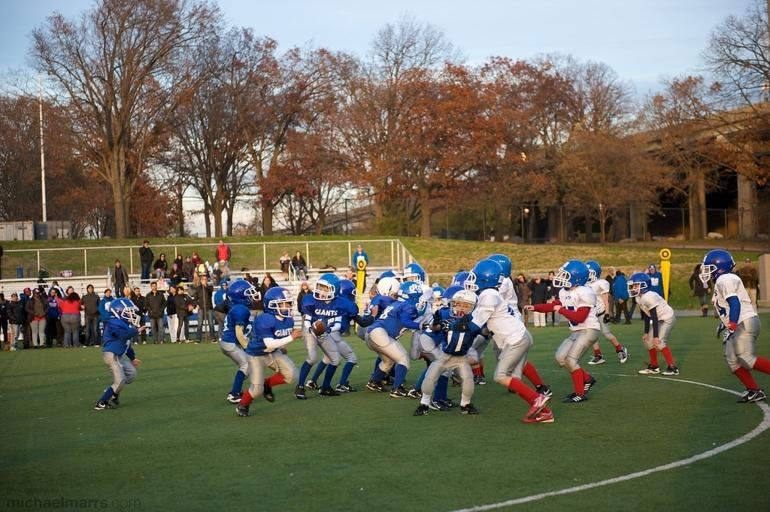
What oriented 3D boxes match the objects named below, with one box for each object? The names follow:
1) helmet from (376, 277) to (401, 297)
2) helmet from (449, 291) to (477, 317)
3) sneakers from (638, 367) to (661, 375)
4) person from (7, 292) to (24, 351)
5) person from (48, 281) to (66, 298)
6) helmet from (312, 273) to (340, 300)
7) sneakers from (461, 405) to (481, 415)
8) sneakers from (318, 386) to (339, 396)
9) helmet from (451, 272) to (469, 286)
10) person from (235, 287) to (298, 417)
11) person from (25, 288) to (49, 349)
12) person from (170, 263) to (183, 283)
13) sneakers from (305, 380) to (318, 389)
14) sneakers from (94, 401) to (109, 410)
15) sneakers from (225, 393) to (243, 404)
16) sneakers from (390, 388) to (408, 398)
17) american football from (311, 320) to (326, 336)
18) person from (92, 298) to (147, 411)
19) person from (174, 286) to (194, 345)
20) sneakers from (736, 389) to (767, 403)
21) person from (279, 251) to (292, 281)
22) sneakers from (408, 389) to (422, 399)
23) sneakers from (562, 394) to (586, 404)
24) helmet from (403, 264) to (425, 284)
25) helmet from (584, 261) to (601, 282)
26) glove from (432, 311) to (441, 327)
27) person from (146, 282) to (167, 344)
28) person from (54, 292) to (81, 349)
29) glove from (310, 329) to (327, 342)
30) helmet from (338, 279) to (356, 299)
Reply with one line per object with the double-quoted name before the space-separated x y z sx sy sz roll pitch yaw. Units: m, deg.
"helmet" 0.100 0.720 20.925 0.548 0.374 0.441 -12 -34 12
"helmet" 1.671 1.008 18.671 0.474 0.457 0.607 0 -4 18
"sneakers" 6.748 2.933 22.283 0.593 0.223 0.206 2 2 18
"person" -12.699 2.273 30.330 0.483 1.947 1.043 -2 -2 -23
"person" -12.233 1.278 32.864 0.527 0.689 0.815 1 -17 -14
"helmet" -1.302 0.717 20.429 0.591 0.634 0.500 -2 -2 -19
"sneakers" 1.914 3.376 19.247 0.426 0.175 0.180 -5 -3 28
"sneakers" -1.322 3.233 20.942 0.584 0.224 0.180 2 3 -1
"helmet" 1.834 0.552 21.172 0.374 0.407 0.299 5 35 2
"person" -2.485 2.114 19.345 1.386 2.828 0.770 -3 -2 12
"person" -11.880 2.179 30.137 0.651 1.983 0.880 -2 -2 -22
"person" -8.343 0.657 35.333 0.459 0.868 1.163 -2 -2 -15
"sneakers" -1.770 3.196 21.627 0.148 0.162 0.373 10 -12 -7
"sneakers" -6.481 3.456 20.197 0.155 0.146 0.355 5 -11 -43
"sneakers" -3.485 3.330 20.495 0.563 0.249 0.211 -6 -8 41
"sneakers" 0.344 3.218 20.513 0.496 0.195 0.173 -1 0 17
"american football" -1.443 1.585 19.115 0.333 0.297 0.361 3 -14 -34
"person" -6.152 2.270 20.460 1.029 2.542 1.092 -2 -2 -15
"person" -7.047 2.049 31.014 0.573 1.981 1.418 -2 -2 -13
"sneakers" 8.016 3.106 19.319 0.729 0.263 0.232 0 -2 -3
"person" -4.309 0.472 38.651 0.418 1.251 0.906 -2 -2 -7
"sneakers" 0.724 3.238 20.455 0.397 0.149 0.140 -3 -4 16
"sneakers" 4.299 3.244 19.866 0.570 0.210 0.204 6 -5 -36
"helmet" 0.702 0.429 22.277 0.467 0.423 0.557 -8 -12 16
"helmet" 4.861 0.400 20.835 0.441 0.425 0.568 -13 -17 28
"glove" 1.120 1.364 18.881 0.102 0.246 0.275 7 -6 -41
"person" -7.912 1.978 30.464 0.669 2.125 1.388 -2 -2 -14
"person" -10.775 2.110 30.220 0.711 2.037 1.447 -2 -2 -20
"glove" -1.455 1.756 19.725 0.374 0.336 0.443 4 -21 -16
"helmet" -0.882 0.812 21.196 0.525 0.401 0.368 -4 7 -7
